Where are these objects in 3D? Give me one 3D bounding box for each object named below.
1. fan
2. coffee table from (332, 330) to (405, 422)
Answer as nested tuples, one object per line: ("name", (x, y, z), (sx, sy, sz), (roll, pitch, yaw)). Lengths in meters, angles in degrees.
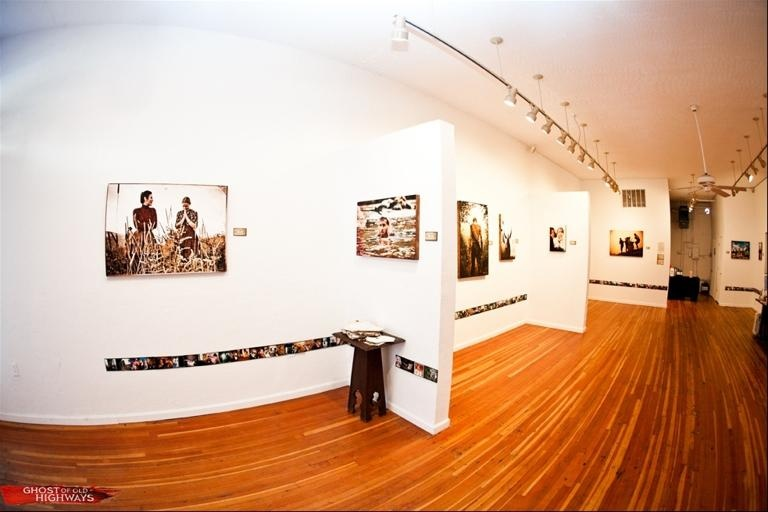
("fan", (7.090, -2.329, 10.182), (1.400, 1.650, 1.298), (-1, 4, 7))
("coffee table", (-0.244, 1.791, 7.115), (0.693, 1.228, 0.799), (-5, 10, -37))
